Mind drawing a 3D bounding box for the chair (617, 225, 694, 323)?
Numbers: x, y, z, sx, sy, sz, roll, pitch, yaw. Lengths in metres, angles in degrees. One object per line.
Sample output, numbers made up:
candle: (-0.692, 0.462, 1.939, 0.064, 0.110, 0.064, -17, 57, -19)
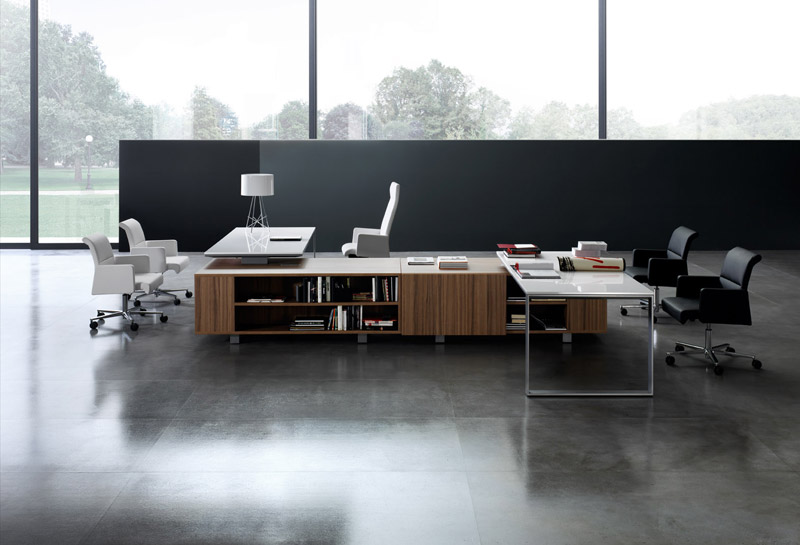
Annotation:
chair: (3.613, -0.002, 9.077, 0.926, 1.199, 0.947, 0, 10, 13)

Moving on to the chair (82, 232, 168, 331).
chair: (-3.804, 0.114, 9.001, 1.134, 1.136, 1.022, 5, 8, -1)

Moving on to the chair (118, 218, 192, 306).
chair: (-3.898, -0.182, 10.195, 1.076, 1.171, 1.006, -2, 10, -29)

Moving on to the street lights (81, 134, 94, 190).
street lights: (-6.845, -2.438, 14.184, 0.230, 1.176, 0.026, -1, 6, -9)

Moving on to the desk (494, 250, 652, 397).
desk: (1.914, 0.529, 7.045, 1.539, 1.281, 1.771, 1, 5, 10)

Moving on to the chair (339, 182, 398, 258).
chair: (-0.627, -0.895, 11.221, 0.988, 1.210, 0.920, -1, 14, -17)

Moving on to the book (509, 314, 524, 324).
book: (1.426, 0.566, 7.925, 0.134, 0.074, 0.126, 0, 0, 1)
